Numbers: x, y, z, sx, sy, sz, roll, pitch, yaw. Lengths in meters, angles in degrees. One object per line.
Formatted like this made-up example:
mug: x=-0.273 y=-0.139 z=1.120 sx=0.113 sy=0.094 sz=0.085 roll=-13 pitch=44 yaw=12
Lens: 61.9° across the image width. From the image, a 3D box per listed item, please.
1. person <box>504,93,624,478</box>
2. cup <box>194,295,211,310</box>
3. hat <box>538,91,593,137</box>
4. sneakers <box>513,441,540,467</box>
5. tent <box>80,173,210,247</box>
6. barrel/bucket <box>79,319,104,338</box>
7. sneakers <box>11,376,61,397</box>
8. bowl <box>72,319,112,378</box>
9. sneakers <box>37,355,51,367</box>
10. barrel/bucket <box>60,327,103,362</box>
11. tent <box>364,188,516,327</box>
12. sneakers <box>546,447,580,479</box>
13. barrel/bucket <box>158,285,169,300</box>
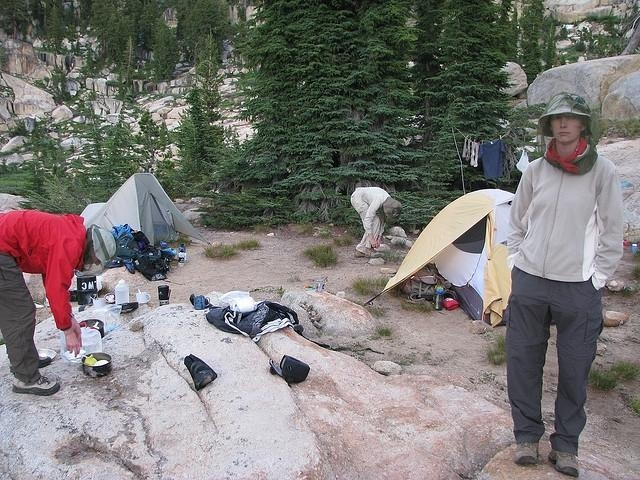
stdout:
person: x=2.163 y=0.367 z=4.785 sx=0.939 sy=3.294 sz=0.952 roll=4 pitch=14 yaw=18
cup: x=-1.521 y=0.784 z=6.874 sx=0.206 sy=0.167 sz=0.202 roll=0 pitch=12 yaw=0
hat: x=2.264 y=-1.184 z=4.961 sx=0.378 sy=0.361 sz=0.485 roll=5 pitch=18 yaw=16
sneakers: x=1.848 y=1.928 z=4.791 sx=0.313 sy=0.121 sz=0.119 roll=3 pitch=-7 yaw=5
tent: x=-4.074 y=-0.710 z=12.362 sx=2.195 sy=1.079 sz=2.225 roll=4 pitch=6 yaw=31
barrel/bucket: x=-2.680 y=1.019 z=6.294 sx=0.238 sy=0.166 sz=0.227 roll=3 pitch=10 yaw=-1
sneakers: x=-2.817 y=1.429 z=5.312 sx=0.428 sy=0.195 sz=0.181 roll=1 pitch=7 yaw=-7
bowl: x=-2.503 y=1.154 z=5.856 sx=0.294 sy=0.268 sz=0.889 roll=-10 pitch=19 yaw=-27
sneakers: x=-2.918 y=1.287 z=5.646 sx=0.122 sy=0.048 sz=0.122 roll=1 pitch=1 yaw=9
barrel/bucket: x=-2.625 y=1.151 z=5.905 sx=0.371 sy=0.351 sz=0.364 roll=0 pitch=3 yaw=0
tent: x=2.300 y=0.047 z=9.125 sx=2.373 sy=1.227 sz=2.257 roll=-8 pitch=12 yaw=-35
sneakers: x=2.159 y=1.967 z=4.693 sx=0.117 sy=0.131 sz=0.313 roll=3 pitch=-13 yaw=7
barrel/bucket: x=-2.422 y=0.807 z=8.283 sx=0.216 sy=0.217 sz=0.173 roll=-3 pitch=9 yaw=-33
